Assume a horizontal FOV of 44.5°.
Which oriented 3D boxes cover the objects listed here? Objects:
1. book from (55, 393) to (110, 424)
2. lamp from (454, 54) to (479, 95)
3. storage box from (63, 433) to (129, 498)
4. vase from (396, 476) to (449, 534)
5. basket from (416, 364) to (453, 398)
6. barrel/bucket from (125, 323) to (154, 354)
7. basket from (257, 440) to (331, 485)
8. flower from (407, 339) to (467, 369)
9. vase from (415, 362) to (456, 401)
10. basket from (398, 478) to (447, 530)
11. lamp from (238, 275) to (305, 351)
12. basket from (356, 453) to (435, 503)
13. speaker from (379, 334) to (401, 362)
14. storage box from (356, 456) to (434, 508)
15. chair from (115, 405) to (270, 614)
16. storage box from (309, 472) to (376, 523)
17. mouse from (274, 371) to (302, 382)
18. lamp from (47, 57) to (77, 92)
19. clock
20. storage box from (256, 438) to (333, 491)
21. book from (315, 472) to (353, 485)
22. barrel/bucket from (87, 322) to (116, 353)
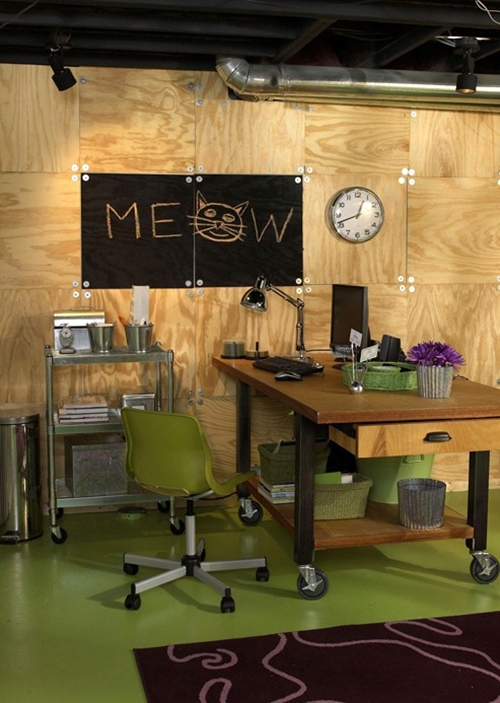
[{"bbox_3d":[-0.915,0.325,3.379,0.261,0.139,0.276,0,-2,-14],"label":"book"},{"bbox_3d":[1.159,-1.484,3.272,0.092,0.217,0.251,-1,-2,19],"label":"lamp"},{"bbox_3d":[-0.914,0.690,3.462,0.449,0.300,0.431,-1,-18,-18],"label":"storage box"},{"bbox_3d":[0.756,0.666,2.681,0.212,0.153,0.206,0,1,3],"label":"vase"},{"bbox_3d":[0.746,0.122,2.462,0.131,0.100,0.139,1,-1,2],"label":"basket"},{"bbox_3d":[-0.595,-0.072,3.340,0.166,0.137,0.149,2,1,3],"label":"barrel/bucket"},{"bbox_3d":[0.226,0.524,3.014,0.293,0.165,0.208,-2,4,-27],"label":"basket"},{"bbox_3d":[0.735,0.004,2.439,0.148,0.063,0.144,2,12,-6],"label":"flower"},{"bbox_3d":[0.738,0.118,2.411,0.133,0.101,0.141,1,-1,1],"label":"vase"},{"bbox_3d":[0.755,0.654,2.682,0.211,0.153,0.205,0,1,3],"label":"basket"},{"bbox_3d":[0.171,-0.215,3.778,0.335,0.455,0.534,-1,-2,15],"label":"lamp"},{"bbox_3d":[0.757,0.598,3.143,0.317,0.247,0.341,0,-5,-5],"label":"basket"},{"bbox_3d":[0.724,-0.014,3.160,0.071,0.093,0.127,11,-21,5],"label":"speaker"},{"bbox_3d":[0.758,0.618,3.136,0.316,0.248,0.341,0,-4,-5],"label":"storage box"},{"bbox_3d":[-0.263,0.609,2.526,0.627,0.747,0.684,-1,-3,22],"label":"chair"},{"bbox_3d":[0.427,0.687,2.757,0.301,0.142,0.225,-9,-25,25],"label":"storage box"},{"bbox_3d":[0.177,0.115,2.839,0.087,0.024,0.051,-4,9,-15],"label":"mouse"},{"bbox_3d":[-1.012,-1.481,3.275,0.121,0.162,0.156,1,-2,-27],"label":"lamp"},{"bbox_3d":[0.679,-0.896,3.979,0.424,0.399,0.081,-1,1,-18],"label":"clock"},{"bbox_3d":[0.204,0.517,3.040,0.336,0.180,0.259,-5,23,-23],"label":"storage box"},{"bbox_3d":[0.388,0.572,2.752,0.131,0.041,0.092,1,0,1],"label":"book"},{"bbox_3d":[-0.796,-0.069,3.330,0.160,0.151,0.153,2,3,0],"label":"barrel/bucket"}]
